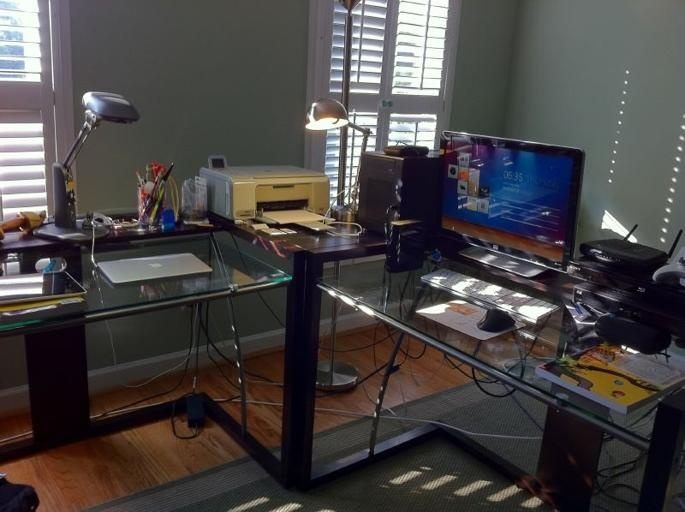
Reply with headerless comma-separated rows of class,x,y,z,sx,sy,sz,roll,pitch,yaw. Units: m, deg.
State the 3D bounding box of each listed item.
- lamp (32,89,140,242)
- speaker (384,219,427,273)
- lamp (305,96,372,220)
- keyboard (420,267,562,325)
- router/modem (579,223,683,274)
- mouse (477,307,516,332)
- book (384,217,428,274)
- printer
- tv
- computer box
lamp,-1.048,-0.355,2.165,0.462,0.580,0.217,1,16,4
speaker,0.257,-0.065,2.311,0.204,0.200,0.363,4,19,8
lamp,-0.015,-0.453,2.539,0.373,0.551,0.221,1,16,-14
keyboard,0.539,0.145,2.028,0.511,0.048,0.222,15,23,42
router/modem,1.047,-0.068,1.980,0.292,0.175,0.352,-5,15,-31
mouse,0.520,0.218,1.803,0.137,0.039,0.132,1,17,4
book,0.268,-0.048,2.305,0.151,0.221,0.170,1,17,-21
printer,-0.339,-0.294,2.532,0.416,0.212,0.425,-9,20,-31
tv,0.653,-0.231,2.125,0.187,0.470,0.640,-16,24,-33
computer box,0.273,-0.299,2.385,0.240,0.386,0.339,-8,18,-36
